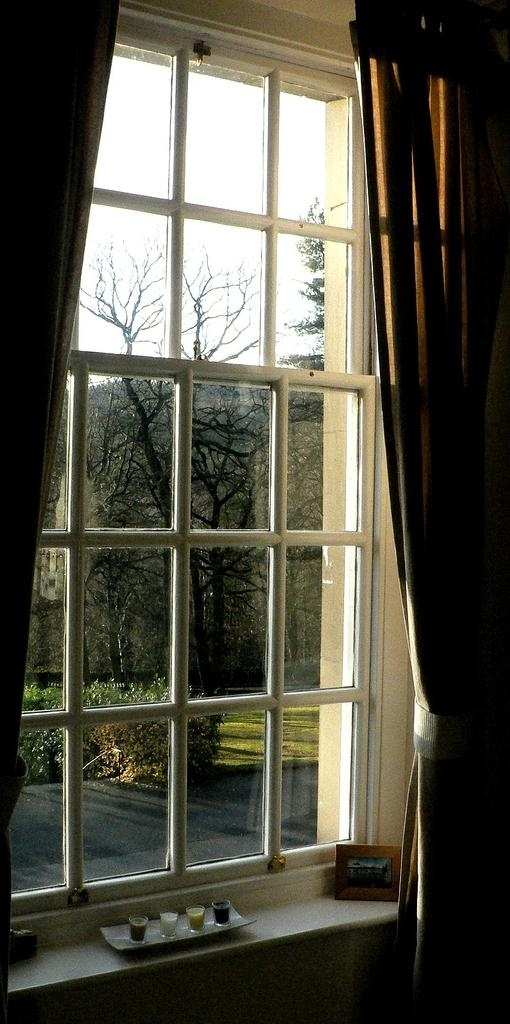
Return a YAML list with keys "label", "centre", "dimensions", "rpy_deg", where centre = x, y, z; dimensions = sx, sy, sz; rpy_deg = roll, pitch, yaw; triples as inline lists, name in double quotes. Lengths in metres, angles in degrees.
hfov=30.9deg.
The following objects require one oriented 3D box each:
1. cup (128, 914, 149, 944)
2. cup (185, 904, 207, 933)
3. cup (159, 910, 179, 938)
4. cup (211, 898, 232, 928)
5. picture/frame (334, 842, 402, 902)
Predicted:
- label: "cup"
  centre: [-0.226, 0.794, 1.753]
  dimensions: [0.027, 0.040, 0.032]
  rpy_deg: [2, -8, -7]
- label: "cup"
  centre: [-0.116, 0.789, 1.794]
  dimensions: [0.031, 0.046, 0.037]
  rpy_deg: [0, -6, 0]
- label: "cup"
  centre: [-0.165, 0.792, 1.775]
  dimensions: [0.030, 0.045, 0.035]
  rpy_deg: [1, 9, -1]
- label: "cup"
  centre: [-0.066, 0.793, 1.827]
  dimensions: [0.028, 0.042, 0.033]
  rpy_deg: [1, -8, -5]
- label: "picture/frame"
  centre: [0.247, 0.787, 2.013]
  dimensions: [0.105, 0.113, 0.009]
  rpy_deg: [1, -18, 0]
